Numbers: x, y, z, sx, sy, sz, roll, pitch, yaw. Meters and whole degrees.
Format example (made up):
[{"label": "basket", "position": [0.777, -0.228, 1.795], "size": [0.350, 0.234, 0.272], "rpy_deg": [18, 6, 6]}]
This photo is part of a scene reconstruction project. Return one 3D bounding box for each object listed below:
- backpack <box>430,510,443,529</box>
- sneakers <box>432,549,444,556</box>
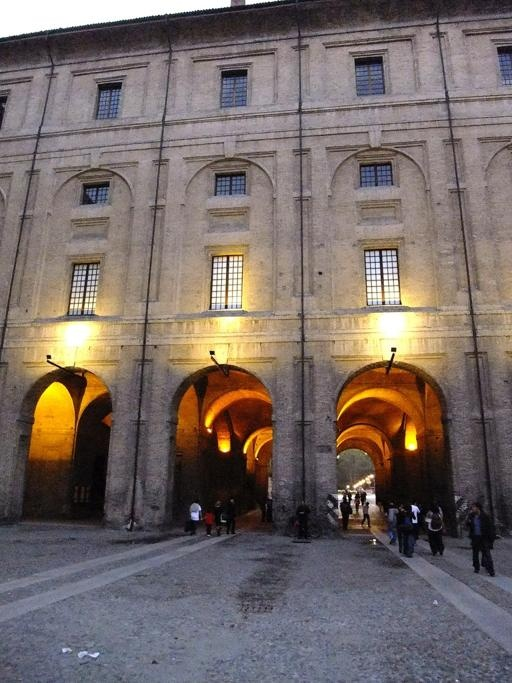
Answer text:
[{"label": "backpack", "position": [4.584, 4.617, 12.578], "size": [0.317, 0.408, 0.431], "rpy_deg": [-3, -14, 12]}, {"label": "sneakers", "position": [4.624, 5.400, 12.536], "size": [0.244, 0.086, 0.228], "rpy_deg": [2, -13, 0]}]
